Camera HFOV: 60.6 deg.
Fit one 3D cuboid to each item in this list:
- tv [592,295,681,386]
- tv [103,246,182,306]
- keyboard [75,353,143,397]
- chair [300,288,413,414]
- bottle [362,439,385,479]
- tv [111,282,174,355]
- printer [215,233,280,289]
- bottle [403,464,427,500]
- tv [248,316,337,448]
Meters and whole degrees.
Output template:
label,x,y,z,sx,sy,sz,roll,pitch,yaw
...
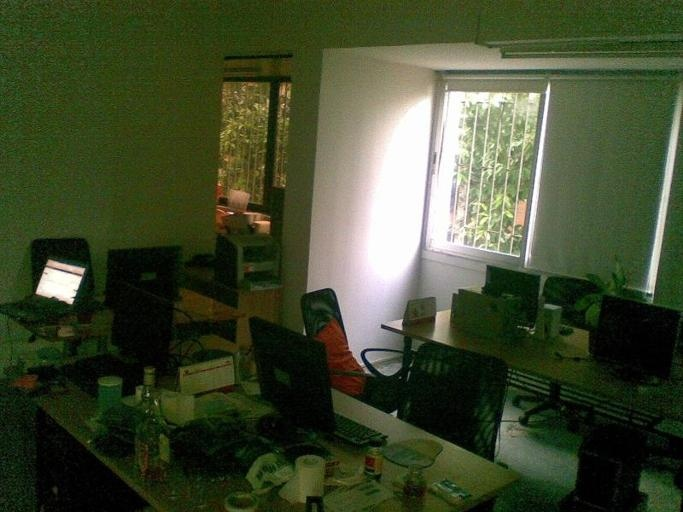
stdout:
label,x,y,z,sx,sy,sz,roll,pitch,yaw
tv,1.207,0.329,2.400,0.408,0.327,0.097,18,17,42
tv,-1.180,0.090,3.113,0.648,0.292,0.590,1,2,-11
keyboard,-0.921,0.487,2.318,0.186,0.040,0.174,-7,17,-44
chair,0.102,0.564,2.981,0.577,0.669,0.458,6,7,24
bottle,0.106,0.669,1.918,0.062,0.089,0.060,8,-6,1
tv,-0.818,0.260,2.384,0.397,0.258,0.055,19,13,36
printer,-0.550,0.006,3.395,0.338,0.265,0.346,-7,12,-40
bottle,0.237,0.712,1.845,0.125,0.077,0.112,1,-13,0
tv,-0.178,0.461,2.066,0.160,0.422,0.460,-19,15,-36
